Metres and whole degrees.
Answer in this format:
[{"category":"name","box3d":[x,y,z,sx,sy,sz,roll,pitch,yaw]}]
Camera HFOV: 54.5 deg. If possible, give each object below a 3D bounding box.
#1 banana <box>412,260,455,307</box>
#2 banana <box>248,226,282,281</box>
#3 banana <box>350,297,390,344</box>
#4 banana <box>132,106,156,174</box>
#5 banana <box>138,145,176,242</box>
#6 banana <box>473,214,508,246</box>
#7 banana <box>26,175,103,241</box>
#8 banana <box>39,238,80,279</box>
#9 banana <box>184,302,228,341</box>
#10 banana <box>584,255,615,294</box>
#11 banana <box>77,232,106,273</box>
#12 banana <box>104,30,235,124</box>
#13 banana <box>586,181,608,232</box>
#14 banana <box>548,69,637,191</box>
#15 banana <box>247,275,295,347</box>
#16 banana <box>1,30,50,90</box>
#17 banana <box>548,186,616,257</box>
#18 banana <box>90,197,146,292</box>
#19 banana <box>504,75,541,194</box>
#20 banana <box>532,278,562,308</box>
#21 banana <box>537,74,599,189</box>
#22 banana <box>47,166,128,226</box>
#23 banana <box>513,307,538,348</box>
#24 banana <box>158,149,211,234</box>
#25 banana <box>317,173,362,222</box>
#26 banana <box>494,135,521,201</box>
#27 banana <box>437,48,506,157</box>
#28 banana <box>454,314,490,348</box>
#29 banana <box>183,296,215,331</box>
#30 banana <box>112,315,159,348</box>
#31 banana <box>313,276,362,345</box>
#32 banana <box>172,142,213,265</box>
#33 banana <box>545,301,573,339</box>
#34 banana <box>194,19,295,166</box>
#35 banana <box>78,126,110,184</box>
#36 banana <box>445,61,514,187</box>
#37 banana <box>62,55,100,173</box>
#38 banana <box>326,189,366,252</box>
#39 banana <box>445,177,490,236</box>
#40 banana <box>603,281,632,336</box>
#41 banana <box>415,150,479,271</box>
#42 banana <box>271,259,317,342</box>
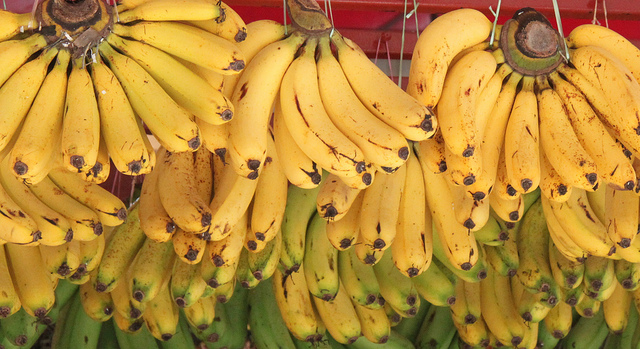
[{"category":"banana","box3d":[0.577,0.562,3.193,0.140,0.275,0.089,-32,-31,-1]},{"category":"banana","box3d":[-0.280,0.360,3.000,0.190,0.125,0.386,-2,26,1]},{"category":"banana","box3d":[0.288,0.753,3.239,0.136,0.283,0.094,-29,6,27]},{"category":"banana","box3d":[-0.722,-0.144,2.543,0.055,0.274,0.089,-18,-8,12]},{"category":"banana","box3d":[-0.726,0.086,2.870,0.175,0.532,0.110,-11,-34,8]},{"category":"banana","box3d":[0.834,0.287,3.091,0.105,0.199,0.066,-32,-47,-9]},{"category":"banana","box3d":[-1.104,0.149,2.674,0.082,0.298,0.099,-43,-5,-21]},{"category":"banana","box3d":[-1.232,0.387,2.878,0.168,0.122,0.349,6,8,-36]},{"category":"banana","box3d":[-0.564,0.733,3.119,0.216,0.134,0.409,1,16,-12]},{"category":"banana","box3d":[1.458,0.493,3.251,0.172,0.166,0.324,-1,23,25]},{"category":"banana","box3d":[-1.039,0.350,2.813,0.056,0.204,0.067,33,-16,-19]},{"category":"banana","box3d":[-0.640,-0.366,2.539,0.625,0.138,0.203,19,-56,-25]},{"category":"banana","box3d":[1.355,0.150,3.073,0.061,0.257,0.092,-13,11,25]},{"category":"banana","box3d":[1.205,-0.196,2.749,0.112,0.524,0.169,-30,-8,-12]},{"category":"banana","box3d":[-0.276,0.737,3.333,0.138,0.539,0.191,-22,-15,-3]},{"category":"banana","box3d":[-1.197,-0.460,2.521,0.262,0.069,0.086,-43,-14,-18]},{"category":"banana","box3d":[1.235,0.215,2.920,0.377,0.125,0.100,42,-35,-7]},{"category":"banana","box3d":[-0.931,0.331,2.856,0.116,0.480,0.150,42,-33,-27]},{"category":"banana","box3d":[0.868,-0.184,2.784,0.126,0.523,0.168,5,-25,3]},{"category":"banana","box3d":[1.173,0.621,3.225,0.118,0.148,0.085,-16,8,-12]},{"category":"banana","box3d":[1.092,-0.194,2.767,0.221,0.536,0.123,-7,-19,18]},{"category":"banana","box3d":[-1.025,0.097,2.711,0.333,0.092,0.106,33,-33,7]},{"category":"banana","box3d":[1.077,0.801,3.277,0.057,0.235,0.082,-22,13,5]},{"category":"banana","box3d":[-0.600,0.088,2.735,0.153,0.428,0.149,-24,-34,3]},{"category":"banana","box3d":[0.071,0.086,2.885,0.165,0.362,0.126,18,-57,2]},{"category":"banana","box3d":[0.815,-0.022,2.815,0.077,0.311,0.101,-16,-17,26]},{"category":"banana","box3d":[0.646,-0.311,2.714,0.232,0.482,0.153,7,-20,-24]},{"category":"banana","box3d":[0.812,0.851,3.338,0.111,0.209,0.067,-1,-56,-23]},{"category":"banana","box3d":[-0.594,0.689,3.108,0.145,0.092,0.280,-3,19,-18]},{"category":"banana","box3d":[-0.931,0.791,3.156,0.065,0.246,0.085,-39,7,28]},{"category":"banana","box3d":[0.105,0.713,3.194,0.176,0.385,0.131,-32,-17,22]},{"category":"banana","box3d":[-0.597,0.083,3.000,0.158,0.191,0.630,-20,-35,-19]},{"category":"banana","box3d":[1.295,0.795,3.368,0.107,0.219,0.091,29,-43,-2]},{"category":"banana","box3d":[-0.319,-0.359,2.622,0.142,0.643,0.224,17,-22,37]},{"category":"banana","box3d":[-0.923,-0.060,2.553,0.074,0.263,0.084,7,-11,-21]},{"category":"banana","box3d":[0.688,-0.220,2.725,0.175,0.541,0.116,24,-11,42]},{"category":"banana","box3d":[-0.937,-0.247,2.550,0.122,0.461,0.154,6,-17,-14]},{"category":"banana","box3d":[0.120,0.200,2.831,0.132,0.293,0.089,-17,-55,24]},{"category":"banana","box3d":[0.656,0.179,2.820,0.100,0.383,0.179,-31,-61,20]},{"category":"banana","box3d":[1.612,0.725,3.402,0.102,0.376,0.124,7,-10,11]},{"category":"banana","box3d":[0.578,0.144,2.842,0.196,0.593,0.125,-31,0,-7]},{"category":"banana","box3d":[-0.123,0.640,3.090,0.144,0.520,0.170,-8,-9,-36]}]
